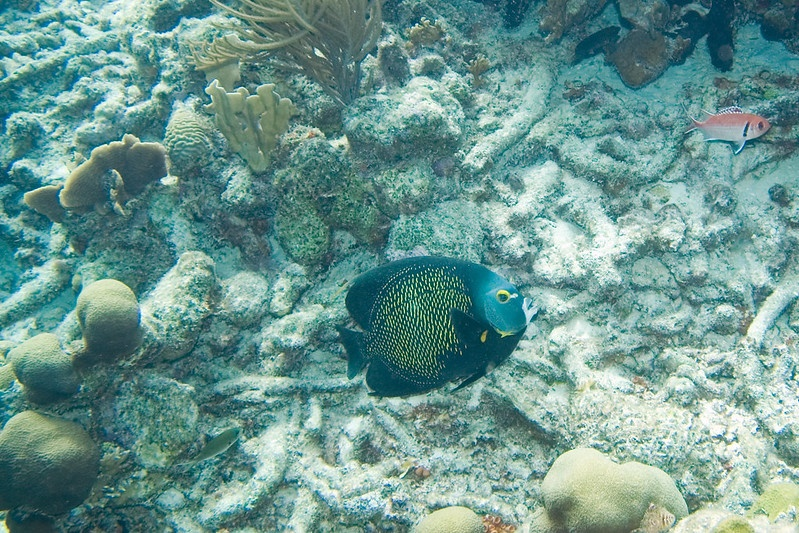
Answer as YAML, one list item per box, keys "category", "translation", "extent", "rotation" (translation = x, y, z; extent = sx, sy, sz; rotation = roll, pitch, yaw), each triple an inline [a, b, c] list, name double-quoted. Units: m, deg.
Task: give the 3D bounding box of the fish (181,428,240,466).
- category: "fish"
  translation: [-2.167, 2.117, 9.983]
  extent: [0.507, 0.224, 0.120]
  rotation: [-27, 57, -24]
